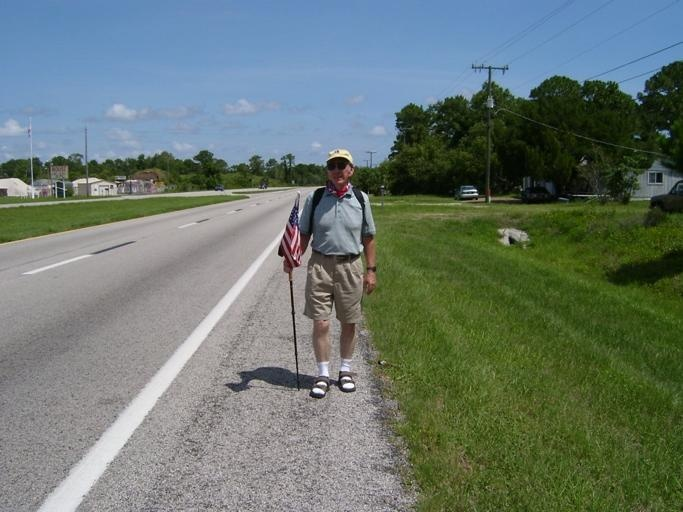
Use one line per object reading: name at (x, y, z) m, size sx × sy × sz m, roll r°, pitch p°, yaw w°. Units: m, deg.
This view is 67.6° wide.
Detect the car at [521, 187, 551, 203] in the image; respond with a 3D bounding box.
car at (15.980, -4.925, 41.778) m, size 2.070 × 1.484 × 1.194 m, roll 14°, pitch 11°, yaw 27°

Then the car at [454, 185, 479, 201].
car at (12.523, -6.278, 51.642) m, size 1.351 × 1.005 × 2.596 m, roll -1°, pitch 4°, yaw -1°

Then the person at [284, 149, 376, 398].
person at (-0.075, 0.123, 5.548) m, size 0.916 × 2.486 × 0.886 m, roll 8°, pitch 9°, yaw 4°

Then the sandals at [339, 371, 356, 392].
sandals at (0.061, 1.344, 5.512) m, size 0.186 × 0.136 × 0.435 m, roll 9°, pitch 11°, yaw -1°

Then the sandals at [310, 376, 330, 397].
sandals at (-0.216, 1.357, 5.332) m, size 0.181 × 0.142 × 0.381 m, roll 10°, pitch 11°, yaw 4°
